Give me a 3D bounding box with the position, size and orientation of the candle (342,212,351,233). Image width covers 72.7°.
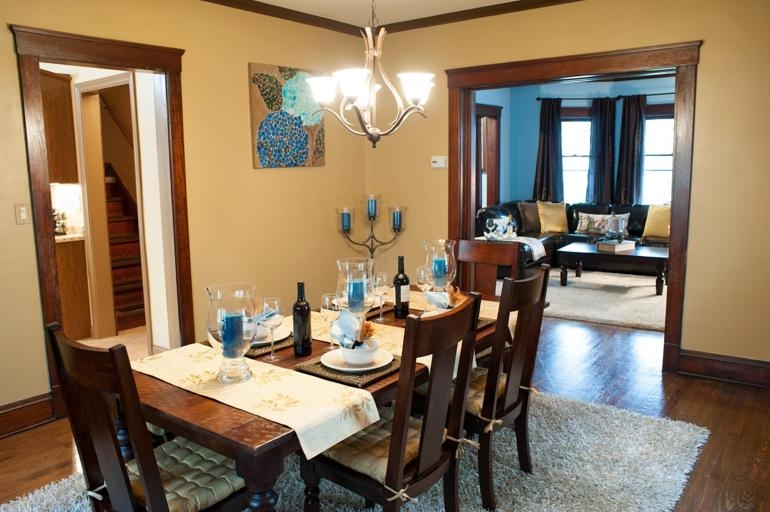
[{"bbox_3d":[-0.379,-0.343,5.199,0.077,0.205,0.101,-2,11,0],"label":"candle"}]

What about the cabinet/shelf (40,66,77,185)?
[{"bbox_3d":[-3.364,-1.311,5.400,0.121,1.117,0.391,1,12,18],"label":"cabinet/shelf"}]

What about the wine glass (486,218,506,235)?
[{"bbox_3d":[1.675,-0.454,7.914,0.303,0.216,0.562,0,10,12],"label":"wine glass"}]

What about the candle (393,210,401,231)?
[{"bbox_3d":[0.128,-0.356,5.316,0.093,0.227,0.184,-3,11,-2],"label":"candle"}]

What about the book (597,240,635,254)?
[{"bbox_3d":[3.215,-0.136,7.277,0.441,0.111,0.646,7,13,42],"label":"book"}]
